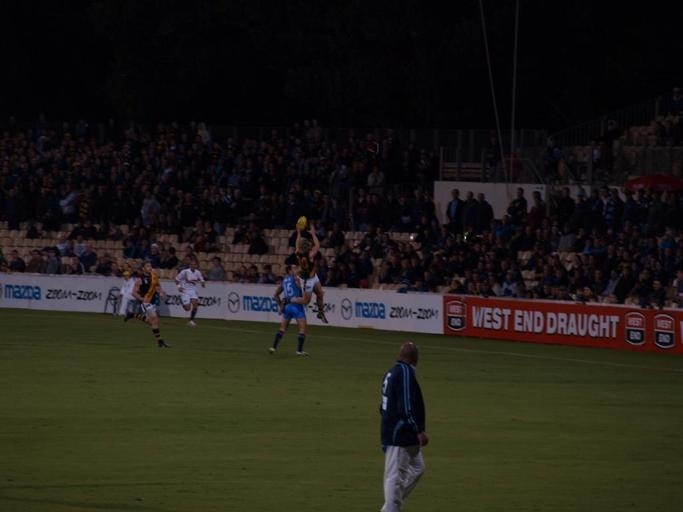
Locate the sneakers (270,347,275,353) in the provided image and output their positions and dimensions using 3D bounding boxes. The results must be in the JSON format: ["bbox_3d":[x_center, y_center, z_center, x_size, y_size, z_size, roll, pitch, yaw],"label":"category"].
[{"bbox_3d":[-1.992,2.751,37.792,0.131,0.086,0.186,1,1,-3],"label":"sneakers"}]

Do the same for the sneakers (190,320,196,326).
[{"bbox_3d":[-4.859,2.234,42.845,0.161,0.133,0.310,0,6,-2],"label":"sneakers"}]

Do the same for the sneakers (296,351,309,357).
[{"bbox_3d":[-1.147,2.884,37.919,0.341,0.153,0.123,1,1,11],"label":"sneakers"}]
